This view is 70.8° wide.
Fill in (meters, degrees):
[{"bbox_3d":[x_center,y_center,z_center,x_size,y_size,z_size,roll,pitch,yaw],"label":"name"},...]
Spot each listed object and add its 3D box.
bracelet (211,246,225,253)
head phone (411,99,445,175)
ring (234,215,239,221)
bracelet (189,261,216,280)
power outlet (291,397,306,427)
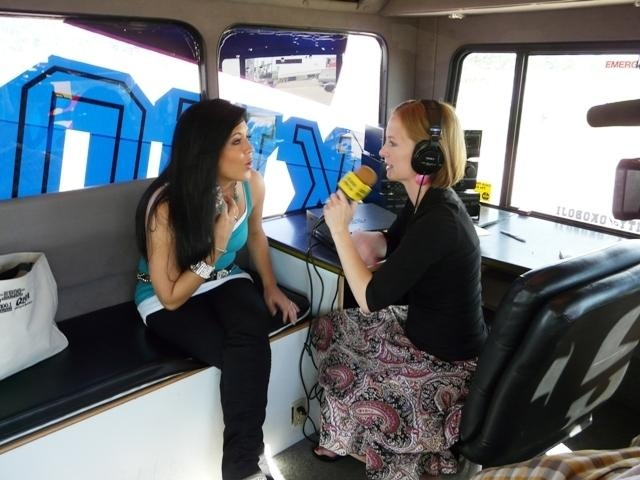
[{"bbox_3d":[-0.452,0.045,2.026,0.035,0.035,0.010,4,28,-6],"label":"bracelet"},{"bbox_3d":[0.430,-0.405,1.774,0.122,0.283,0.118,4,12,8],"label":"head phone"},{"bbox_3d":[-0.396,-0.104,2.129,0.025,0.028,0.015,3,3,-14],"label":"ring"},{"bbox_3d":[-0.524,0.119,2.032,0.079,0.083,0.064,12,56,44],"label":"bracelet"},{"bbox_3d":[-0.106,0.878,2.302,0.030,0.123,0.129,6,-4,32],"label":"power outlet"}]
